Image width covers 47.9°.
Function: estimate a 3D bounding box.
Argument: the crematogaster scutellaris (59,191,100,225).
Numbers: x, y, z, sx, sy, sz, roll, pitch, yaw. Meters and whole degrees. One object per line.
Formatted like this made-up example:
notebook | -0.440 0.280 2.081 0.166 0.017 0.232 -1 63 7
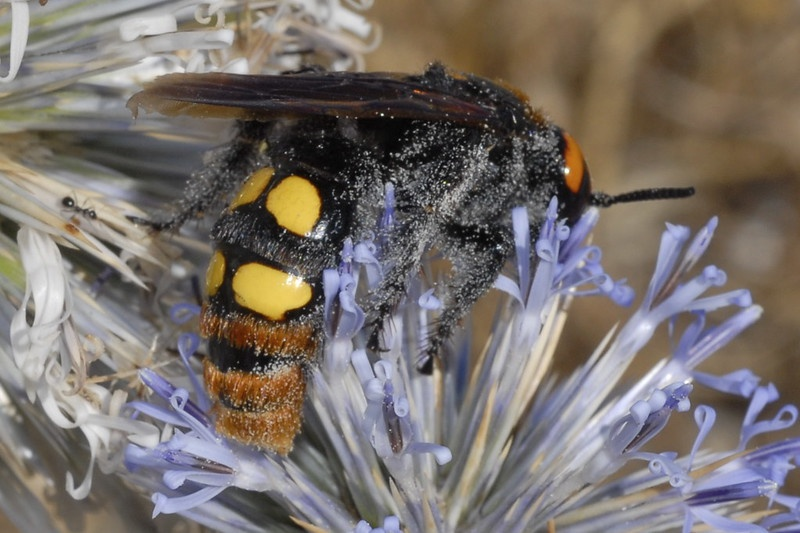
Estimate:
crematogaster scutellaris | -0.662 -0.122 1.865 0.062 0.044 0.019 29 -65 -36
